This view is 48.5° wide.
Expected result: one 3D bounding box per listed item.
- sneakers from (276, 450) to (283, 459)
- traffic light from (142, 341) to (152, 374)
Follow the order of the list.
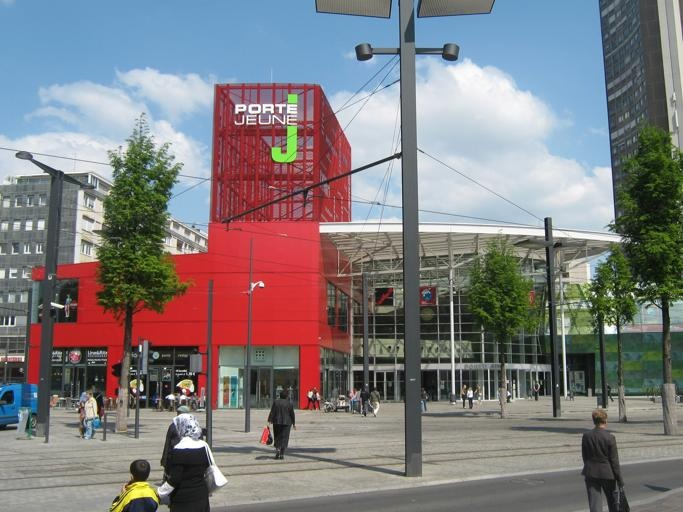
[{"bbox_3d":[-1.908,6.222,23.763,0.237,0.264,0.186,-1,-9,21],"label":"sneakers"},{"bbox_3d":[-7.723,4.033,29.905,0.240,1.248,2.961,1,-12,-15],"label":"traffic light"}]
